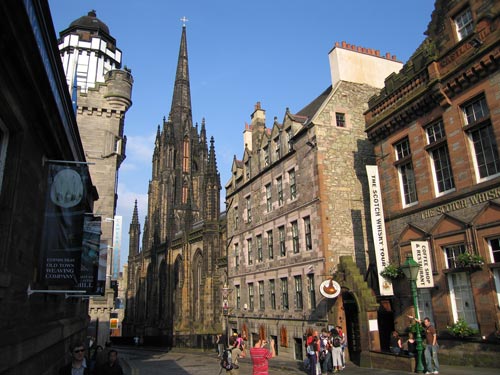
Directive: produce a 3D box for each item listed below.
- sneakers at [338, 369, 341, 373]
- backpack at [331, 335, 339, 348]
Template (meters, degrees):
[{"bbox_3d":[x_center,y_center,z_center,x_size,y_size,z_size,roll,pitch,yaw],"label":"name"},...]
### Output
[{"bbox_3d":[3.797,7.810,17.257,0.091,0.178,0.094,9,-13,-17],"label":"sneakers"},{"bbox_3d":[3.623,6.566,17.257,0.329,0.499,0.460,-3,-8,-4],"label":"backpack"}]
